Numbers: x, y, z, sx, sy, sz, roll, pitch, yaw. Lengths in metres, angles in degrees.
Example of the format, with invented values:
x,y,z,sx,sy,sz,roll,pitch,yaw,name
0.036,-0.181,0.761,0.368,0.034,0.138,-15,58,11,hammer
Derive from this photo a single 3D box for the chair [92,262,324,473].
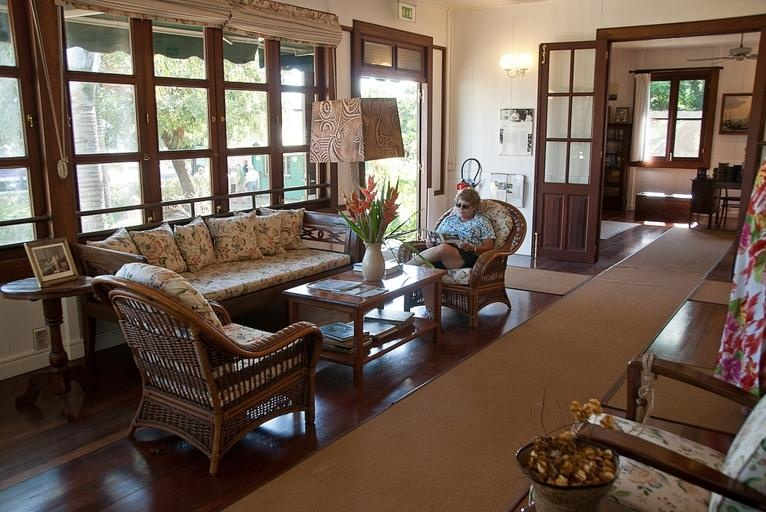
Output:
x,y,z,sx,sy,sz,roll,pitch,yaw,name
-1.072,0.431,3.481,1.112,1.347,1.393,7,13,31,chair

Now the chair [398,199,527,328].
x,y,z,sx,sy,sz,roll,pitch,yaw,name
0.902,0.006,5.484,1.128,1.170,1.253,3,7,43,chair

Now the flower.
x,y,z,sx,sy,sz,roll,pitch,yaw,name
-0.137,-0.366,4.328,0.712,0.683,0.593,-3,5,-11,flower

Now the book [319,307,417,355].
x,y,z,sx,sy,sz,roll,pitch,yaw,name
-0.124,0.594,4.056,0.332,0.110,0.550,2,8,32,book

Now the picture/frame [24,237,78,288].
x,y,z,sx,sy,sz,roll,pitch,yaw,name
-2.381,0.060,3.636,0.026,0.323,0.318,-25,-1,35,picture/frame

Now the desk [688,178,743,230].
x,y,z,sx,sy,sz,roll,pitch,yaw,name
6.084,-0.953,9.368,0.727,0.842,1.332,1,7,22,desk

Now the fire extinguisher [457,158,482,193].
x,y,z,sx,sy,sz,roll,pitch,yaw,name
1.330,-1.266,7.793,0.334,0.472,0.190,13,22,43,fire extinguisher

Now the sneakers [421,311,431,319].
x,y,z,sx,sy,sz,roll,pitch,yaw,name
0.412,0.574,4.960,0.043,0.053,0.137,-1,9,-5,sneakers

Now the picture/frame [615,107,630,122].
x,y,z,sx,sy,sz,roll,pitch,yaw,name
5.271,-3.118,11.197,0.320,0.366,0.028,10,7,43,picture/frame

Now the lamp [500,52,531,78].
x,y,z,sx,sy,sz,roll,pitch,yaw,name
1.897,-2.695,7.232,0.430,0.308,0.217,2,17,18,lamp
